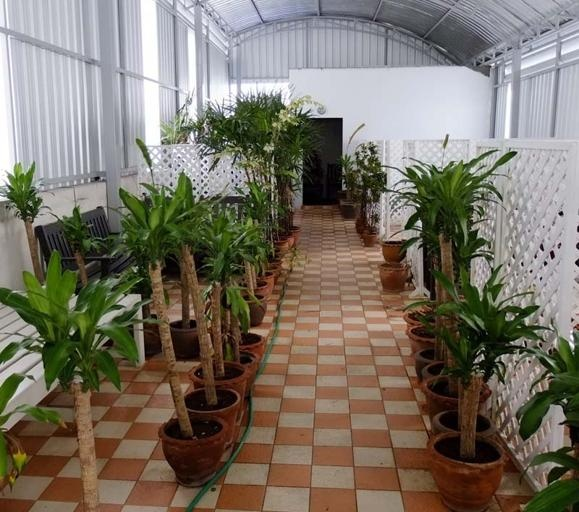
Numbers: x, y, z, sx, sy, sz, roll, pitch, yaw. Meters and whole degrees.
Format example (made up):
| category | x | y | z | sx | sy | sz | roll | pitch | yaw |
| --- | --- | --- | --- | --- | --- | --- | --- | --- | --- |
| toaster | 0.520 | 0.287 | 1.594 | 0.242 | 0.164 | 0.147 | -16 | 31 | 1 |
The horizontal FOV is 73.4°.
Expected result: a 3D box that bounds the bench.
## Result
| category | x | y | z | sx | sy | sz | roll | pitch | yaw |
| --- | --- | --- | --- | --- | --- | --- | --- | --- | --- |
| bench | -2.540 | 0.084 | 5.309 | 0.811 | 1.201 | 2.009 | 8 | 11 | -7 |
